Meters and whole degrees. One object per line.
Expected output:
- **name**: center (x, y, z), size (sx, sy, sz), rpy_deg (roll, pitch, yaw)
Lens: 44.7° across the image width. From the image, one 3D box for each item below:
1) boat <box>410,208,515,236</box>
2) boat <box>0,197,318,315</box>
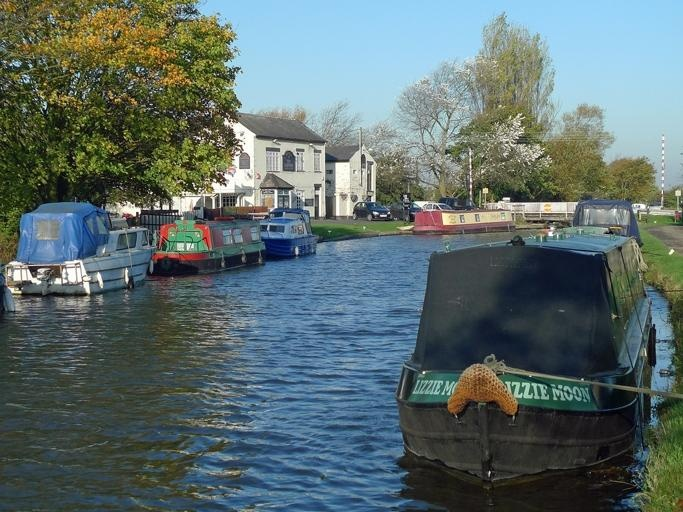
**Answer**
- **boat**: center (10.547, -2.639, 68.277), size (2.835, 1.659, 11.046), rpy_deg (12, 10, 39)
- **boat**: center (-8.247, -0.479, 37.160), size (3.443, 2.435, 14.672), rpy_deg (3, 7, 23)
